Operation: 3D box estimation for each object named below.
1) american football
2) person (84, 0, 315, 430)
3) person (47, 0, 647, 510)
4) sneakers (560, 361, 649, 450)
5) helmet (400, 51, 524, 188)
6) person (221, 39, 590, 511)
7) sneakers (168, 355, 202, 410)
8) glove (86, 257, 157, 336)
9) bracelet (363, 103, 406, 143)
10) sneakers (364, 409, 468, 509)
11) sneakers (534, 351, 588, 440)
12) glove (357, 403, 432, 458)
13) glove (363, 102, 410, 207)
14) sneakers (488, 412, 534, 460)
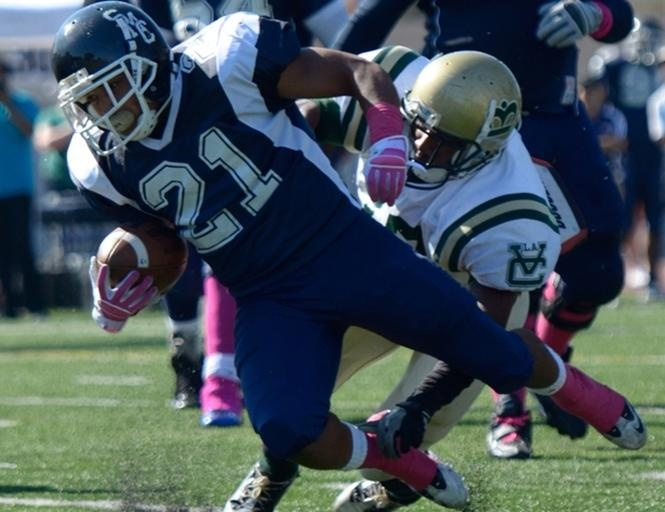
[{"bbox_3d":[-0.637,0.036,3.280,0.224,0.263,0.298,7,4,32],"label":"american football"},{"bbox_3d":[-0.489,-0.168,4.273,0.902,1.716,0.393,-5,13,31],"label":"person"},{"bbox_3d":[-0.167,-0.015,3.040,1.421,1.357,0.391,9,-6,-2],"label":"person"},{"bbox_3d":[0.991,0.560,3.730,0.327,0.119,0.152,35,23,-10],"label":"sneakers"},{"bbox_3d":[0.424,-0.467,3.303,0.411,0.320,0.328,-37,-15,-10],"label":"helmet"},{"bbox_3d":[0.222,0.044,3.174,0.763,1.385,0.877,29,36,31],"label":"person"},{"bbox_3d":[-0.614,0.532,4.291,0.207,0.231,0.129,1,-4,14],"label":"sneakers"},{"bbox_3d":[-0.659,0.140,3.260,0.211,0.227,0.095,24,-6,15],"label":"glove"},{"bbox_3d":[0.144,-0.382,2.968,0.111,0.098,0.097,-15,-28,-20],"label":"bracelet"},{"bbox_3d":[0.246,0.638,3.162,0.310,0.108,0.134,38,-28,-2],"label":"sneakers"},{"bbox_3d":[0.826,0.473,3.769,0.120,0.374,0.155,-27,-16,17],"label":"sneakers"},{"bbox_3d":[0.179,0.541,3.082,0.172,0.075,0.131,-17,14,28],"label":"glove"},{"bbox_3d":[0.151,-0.285,2.899,0.138,0.277,0.113,-4,2,1],"label":"glove"},{"bbox_3d":[0.635,0.648,3.643,0.147,0.159,0.112,-1,-22,8],"label":"sneakers"}]
